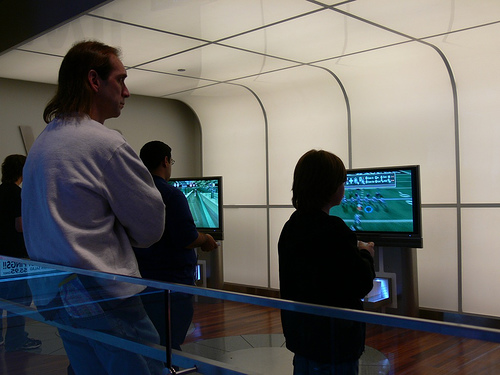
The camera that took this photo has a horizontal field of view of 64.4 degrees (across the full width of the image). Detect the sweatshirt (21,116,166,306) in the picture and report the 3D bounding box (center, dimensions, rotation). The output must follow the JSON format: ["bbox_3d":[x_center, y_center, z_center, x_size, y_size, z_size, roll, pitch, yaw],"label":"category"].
[{"bbox_3d":[-0.625,0.077,1.486,0.543,0.647,0.345,-3,-3,26],"label":"sweatshirt"}]

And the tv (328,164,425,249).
[{"bbox_3d":[1.299,0.195,3.948,0.967,0.711,0.066,-1,-5,37],"label":"tv"}]

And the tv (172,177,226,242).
[{"bbox_3d":[-0.832,0.287,6.043,0.958,0.979,0.106,0,2,24],"label":"tv"}]
